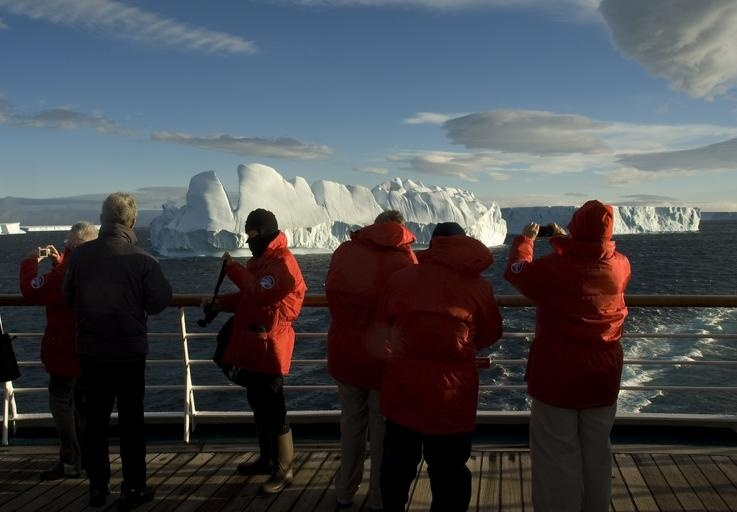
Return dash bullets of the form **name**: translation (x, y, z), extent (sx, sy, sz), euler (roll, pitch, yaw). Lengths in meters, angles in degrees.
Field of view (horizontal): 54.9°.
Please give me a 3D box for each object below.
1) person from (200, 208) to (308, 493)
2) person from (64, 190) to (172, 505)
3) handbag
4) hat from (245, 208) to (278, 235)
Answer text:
- **person**: translation (-0.846, 0.712, 5.444), extent (0.739, 2.147, 0.478), euler (-1, 3, -7)
- **person**: translation (-1.851, 0.691, 5.318), extent (0.739, 2.327, 0.384), euler (-2, 3, -21)
- **handbag**: translation (-1.037, 0.715, 5.575), extent (0.295, 0.467, 0.356), euler (-14, 14, 11)
- **hat**: translation (-0.822, -0.264, 5.429), extent (0.234, 0.199, 0.193), euler (-1, 3, -10)
